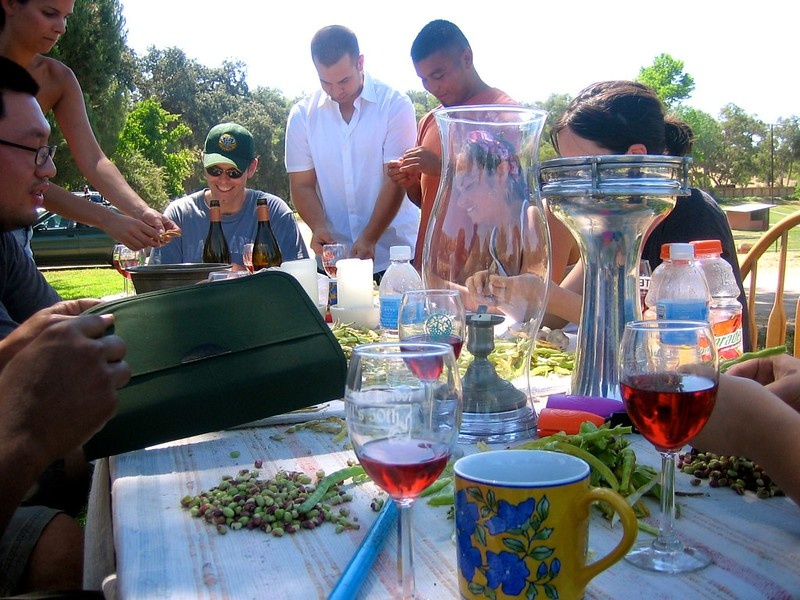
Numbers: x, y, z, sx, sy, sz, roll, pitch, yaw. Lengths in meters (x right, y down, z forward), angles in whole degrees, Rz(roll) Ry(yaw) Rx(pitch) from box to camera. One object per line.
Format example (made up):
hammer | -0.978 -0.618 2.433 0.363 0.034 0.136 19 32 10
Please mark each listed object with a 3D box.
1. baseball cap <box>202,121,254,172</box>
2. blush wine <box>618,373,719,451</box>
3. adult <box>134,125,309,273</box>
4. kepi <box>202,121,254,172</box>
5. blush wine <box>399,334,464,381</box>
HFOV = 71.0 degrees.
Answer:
baseball cap | -1.120 -0.999 3.664 0.296 0.322 0.361 -4 12 -10
blush wine | 0.396 0.140 0.835 0.108 0.102 0.115 -1 3 -13
adult | -1.113 -0.385 3.687 0.943 1.400 0.736 0 3 -17
kepi | -1.119 -0.999 3.665 0.313 0.322 0.360 -5 12 -16
blush wine | 0.035 0.070 0.744 0.056 0.047 0.060 0 0 -3
